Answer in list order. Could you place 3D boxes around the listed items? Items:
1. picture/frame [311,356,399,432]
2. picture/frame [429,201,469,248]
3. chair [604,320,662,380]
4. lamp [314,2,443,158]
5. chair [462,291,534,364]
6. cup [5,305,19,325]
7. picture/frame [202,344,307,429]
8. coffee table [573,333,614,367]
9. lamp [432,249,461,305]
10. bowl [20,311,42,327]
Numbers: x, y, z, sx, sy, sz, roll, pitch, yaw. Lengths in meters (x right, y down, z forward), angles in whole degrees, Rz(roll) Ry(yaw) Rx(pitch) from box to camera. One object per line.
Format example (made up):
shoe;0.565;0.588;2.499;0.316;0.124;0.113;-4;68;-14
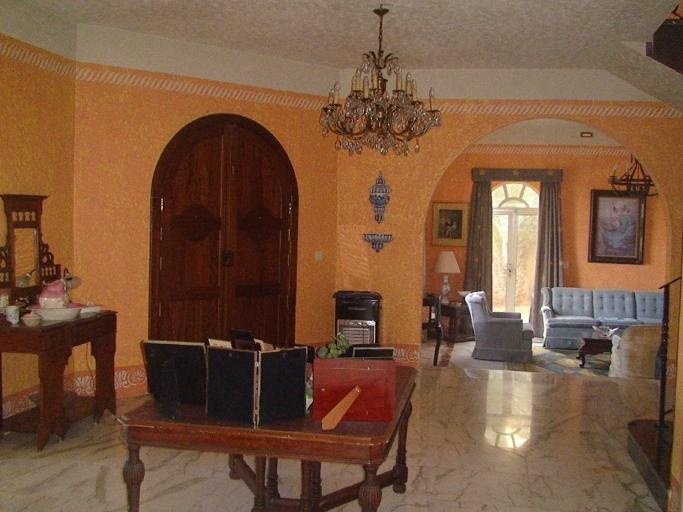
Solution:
picture/frame;0.074;0.874;3.755;0.633;0.437;0.147;0;4;-2
picture/frame;1.915;-0.575;10.613;0.814;0.984;0.038;2;-1;-1
chair;3.494;1.188;7.573;0.641;0.805;0.680;1;1;12
lamp;0.297;-1.643;5.687;0.991;1.336;1.948;1;10;-2
chair;2.330;1.098;9.124;1.025;0.948;0.906;0;0;9
cup;-2.900;0.509;5.189;0.094;0.158;0.161;5;5;43
picture/frame;-0.530;0.803;3.729;0.600;0.449;0.156;0;11;-6
coffee table;3.556;1.301;8.448;0.400;0.249;0.524;0;-3;9
lamp;1.796;0.352;10.252;0.415;0.879;0.806;4;11;11
bowl;-2.708;0.549;5.222;0.134;0.107;0.136;2;-5;0
